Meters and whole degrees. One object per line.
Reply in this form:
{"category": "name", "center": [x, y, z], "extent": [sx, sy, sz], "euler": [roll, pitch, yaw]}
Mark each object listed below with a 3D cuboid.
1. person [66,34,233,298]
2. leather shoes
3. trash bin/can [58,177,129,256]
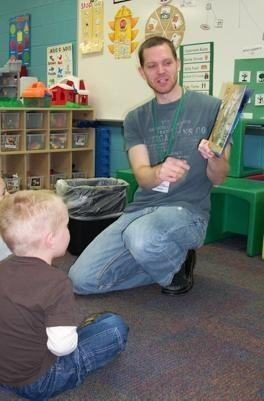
{"category": "person", "center": [0.069, -0.155, 1.558], "extent": [0.751, 1.222, 0.712], "euler": [3, 7, 16]}
{"category": "leather shoes", "center": [0.246, 0.358, 1.652], "extent": [0.100, 0.118, 0.299], "euler": [2, 13, 21]}
{"category": "trash bin/can", "center": [-0.293, 0.116, 2.314], "extent": [0.474, 0.518, 0.474], "euler": [-6, 15, -38]}
